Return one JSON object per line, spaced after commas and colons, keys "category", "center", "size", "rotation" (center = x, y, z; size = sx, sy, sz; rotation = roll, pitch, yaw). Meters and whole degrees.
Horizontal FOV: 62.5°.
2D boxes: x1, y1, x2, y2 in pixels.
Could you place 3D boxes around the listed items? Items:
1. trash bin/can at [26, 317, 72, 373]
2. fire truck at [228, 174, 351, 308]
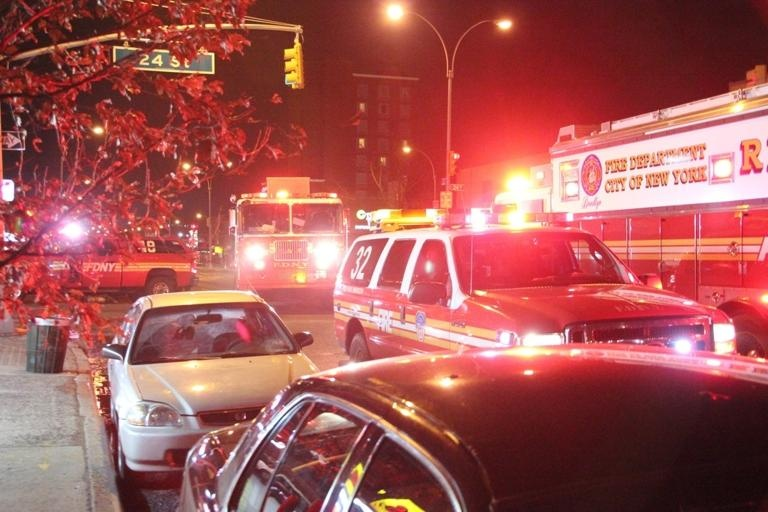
{"category": "trash bin/can", "center": [-5.687, 1.492, 10.690], "size": [0.592, 1.000, 0.493], "rotation": [6, -1, -30]}
{"category": "fire truck", "center": [-3.051, -0.477, 19.438], "size": [2.275, 2.862, 7.114], "rotation": [0, 1, -12]}
